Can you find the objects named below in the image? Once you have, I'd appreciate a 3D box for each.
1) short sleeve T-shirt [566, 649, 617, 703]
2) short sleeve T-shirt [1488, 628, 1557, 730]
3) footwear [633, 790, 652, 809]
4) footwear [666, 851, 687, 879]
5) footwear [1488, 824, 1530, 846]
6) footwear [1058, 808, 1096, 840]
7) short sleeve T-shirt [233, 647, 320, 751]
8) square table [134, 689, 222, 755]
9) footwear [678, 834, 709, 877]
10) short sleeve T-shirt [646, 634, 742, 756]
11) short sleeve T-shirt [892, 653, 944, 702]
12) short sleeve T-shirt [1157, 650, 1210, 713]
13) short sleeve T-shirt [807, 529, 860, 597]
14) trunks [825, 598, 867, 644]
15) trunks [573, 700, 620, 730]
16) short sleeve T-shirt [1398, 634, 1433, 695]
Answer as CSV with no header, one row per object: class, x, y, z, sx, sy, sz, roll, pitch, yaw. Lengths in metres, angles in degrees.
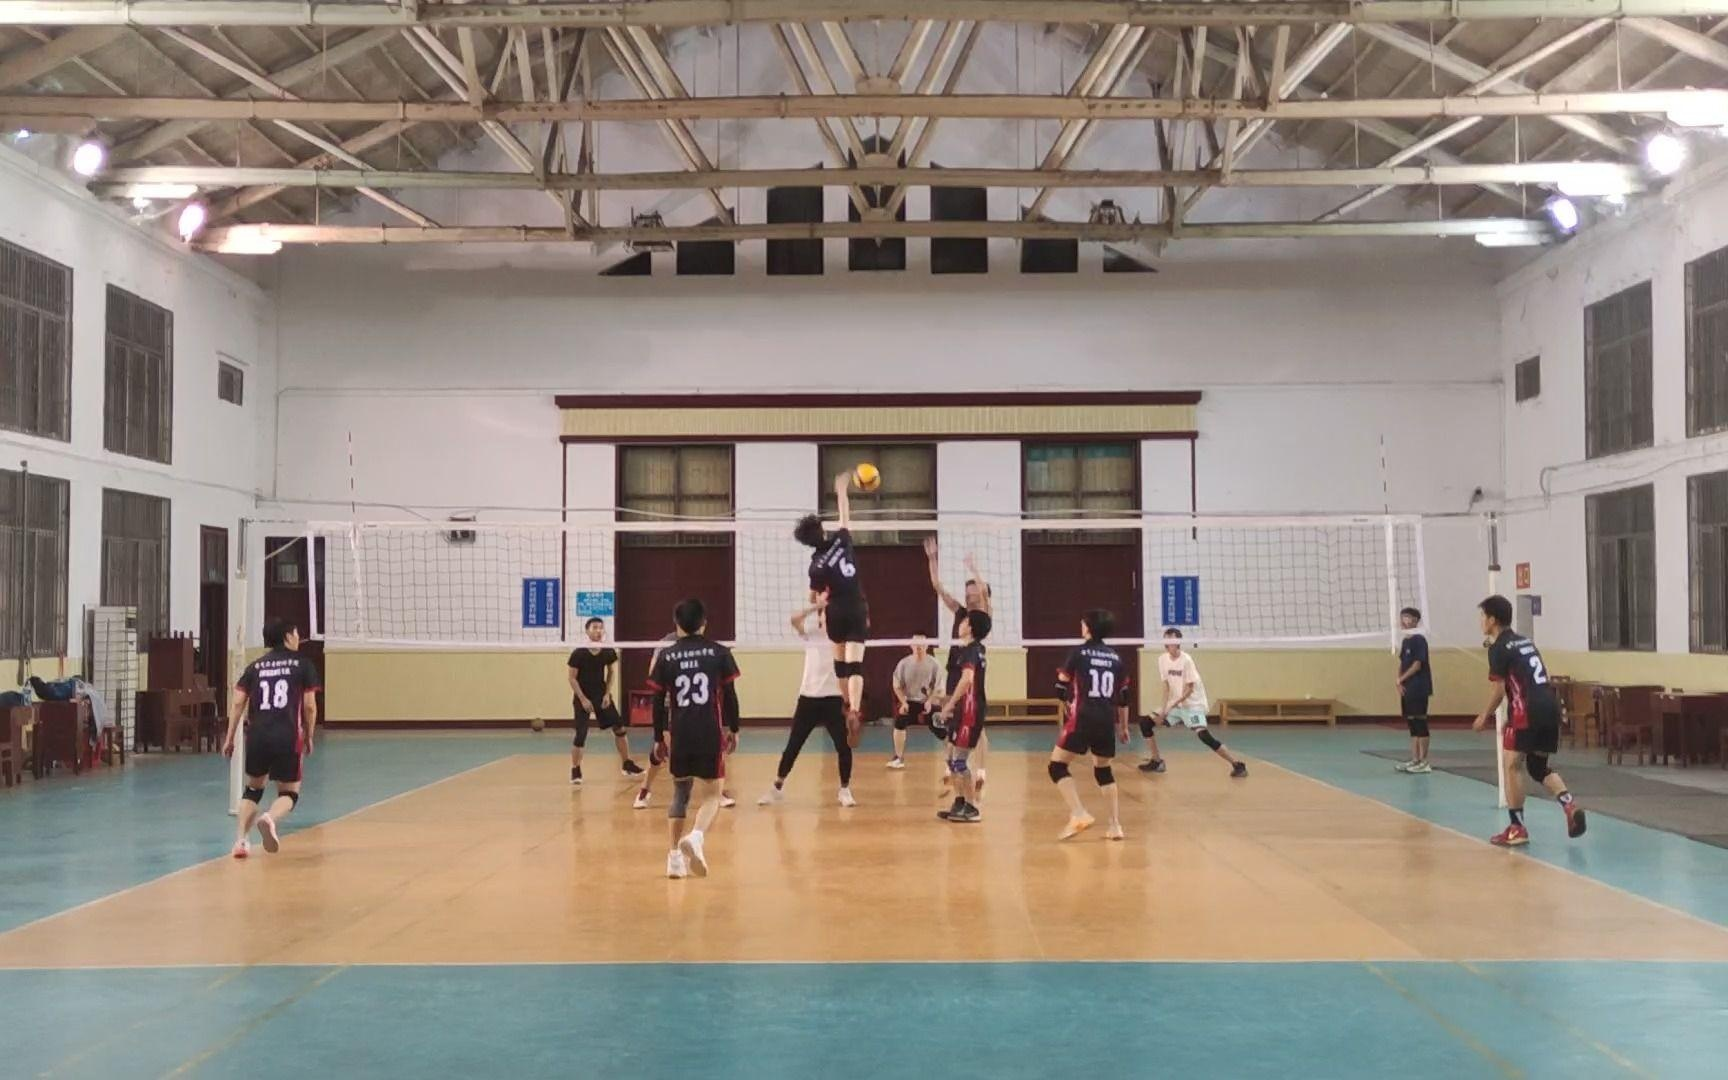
short sleeve T-shirt,-3.747,1.850,21.956,0.454,0.759,0.585,6,15,26
short sleeve T-shirt,7.659,1.634,18.387,0.477,1.072,0.761,-9,16,-33
footwear,-2.865,3.361,20.397,0.151,0.167,0.381,0,-6,-2
footwear,-2.048,3.584,17.358,0.219,0.300,0.310,-1,-5,0
footwear,7.554,3.461,18.513,0.465,0.210,0.219,0,-1,5
footwear,2.500,3.404,18.740,0.262,0.203,0.475,-27,-9,-29
short sleeve T-shirt,-6.685,1.806,18.037,0.816,1.091,0.433,-5,14,-21
square table,-11.218,2.927,25.817,0.898,1.088,1.487,-1,-2,22
footwear,-1.887,3.490,17.368,0.149,0.403,0.294,-20,13,3
short sleeve T-shirt,-1.849,1.647,17.172,0.889,1.116,0.438,-2,13,-10
short sleeve T-shirt,0.828,1.958,23.791,0.956,0.800,0.652,0,-8,9
short sleeve T-shirt,4.557,2.075,22.475,0.582,0.801,0.806,1,13,5
short sleeve T-shirt,-0.362,0.338,20.104,0.706,1.240,1.294,-3,6,-1
trunks,-0.200,1.011,19.987,0.710,0.725,0.475,0,0,4
trunks,-3.738,2.450,22.161,0.585,0.560,0.753,-3,13,-12
short sleeve T-shirt,7.772,1.746,22.309,0.364,0.815,0.453,3,13,12
